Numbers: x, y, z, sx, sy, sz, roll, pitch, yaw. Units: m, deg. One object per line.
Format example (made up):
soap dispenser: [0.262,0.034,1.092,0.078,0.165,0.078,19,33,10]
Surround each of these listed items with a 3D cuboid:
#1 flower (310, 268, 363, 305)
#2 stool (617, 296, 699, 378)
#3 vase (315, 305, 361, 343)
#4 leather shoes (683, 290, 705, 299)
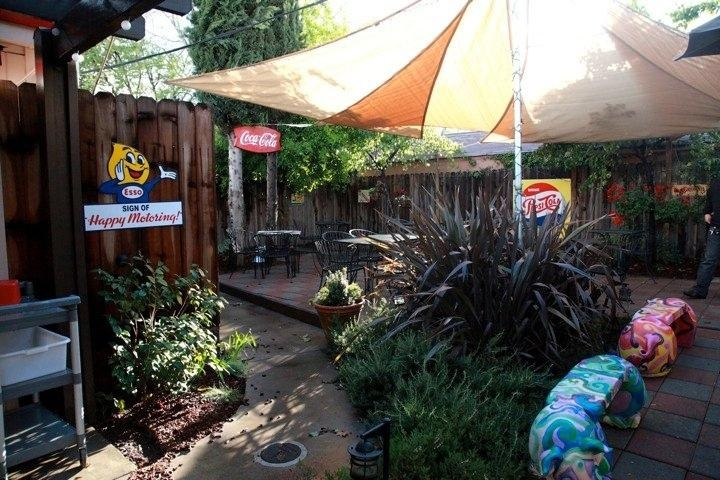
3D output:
flower: [-0.258,0.502,5.420,0.426,0.349,0.443,0,-2,-6]
stool: [2.830,0.844,4.509,0.528,0.507,1.070,6,12,39]
vase: [-0.240,0.859,5.135,0.394,0.321,0.408,0,0,-3]
leather shoes: [4.548,0.753,6.477,0.272,0.132,0.102,10,9,36]
